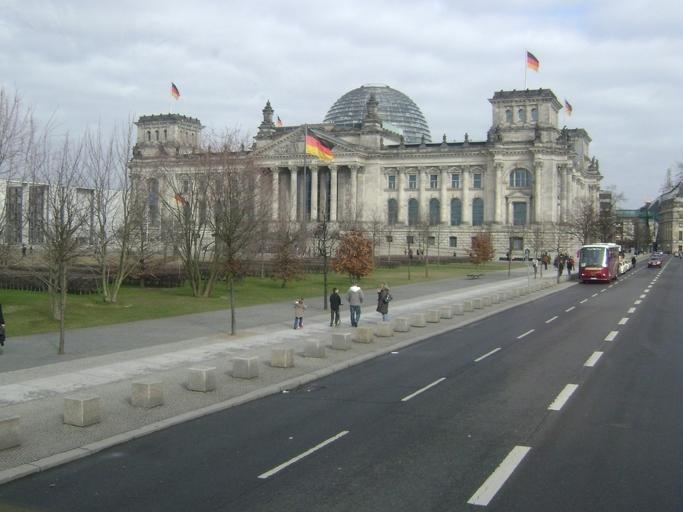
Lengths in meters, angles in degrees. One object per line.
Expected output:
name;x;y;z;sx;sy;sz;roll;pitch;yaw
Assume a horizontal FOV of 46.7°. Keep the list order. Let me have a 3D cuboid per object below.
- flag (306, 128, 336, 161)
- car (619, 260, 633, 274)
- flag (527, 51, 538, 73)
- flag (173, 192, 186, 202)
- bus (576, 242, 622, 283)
flag;-1.617;-7.600;53.936;1.614;2.066;3.686;1;5;-3
car;31.687;1.163;87.965;0.762;0.795;2.320;-1;17;28
flag;22.102;-22.438;91.068;1.189;2.145;2.978;2;6;11
flag;-9.655;-3.521;47.164;0.553;0.630;1.621;-3;6;-4
bus;22.496;0.642;69.406;2.113;2.962;7.417;-1;-3;27
